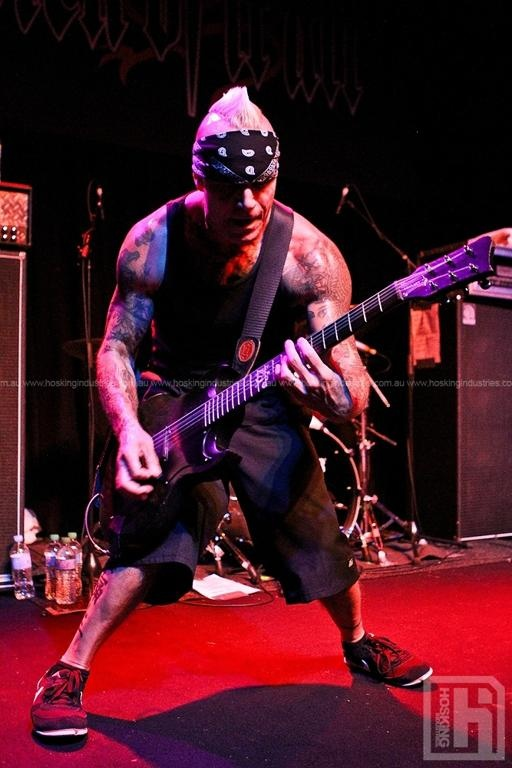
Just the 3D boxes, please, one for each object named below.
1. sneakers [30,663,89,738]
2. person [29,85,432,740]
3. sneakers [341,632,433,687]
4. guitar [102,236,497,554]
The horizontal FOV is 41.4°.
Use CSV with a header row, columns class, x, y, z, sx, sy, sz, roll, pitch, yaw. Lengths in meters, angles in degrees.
class,x,y,z,sx,sy,sz,roll,pitch,yaw
sneakers,-0.512,0.815,1.760,0.143,0.168,0.136,1,-2,-13
person,-0.075,0.089,1.936,1.193,1.741,0.835,-2,4,-12
sneakers,0.389,0.826,2.091,0.129,0.107,0.265,-12,3,-43
guitar,0.068,0.074,1.791,0.986,0.779,0.256,-1,-2,20
